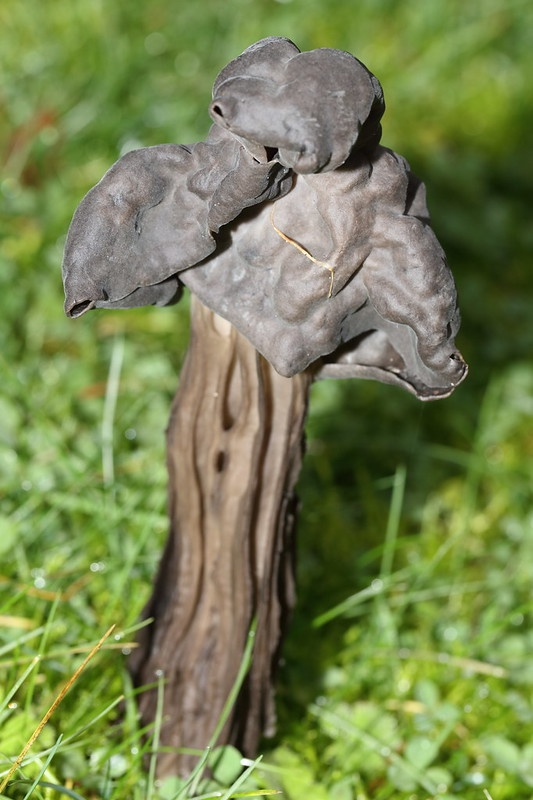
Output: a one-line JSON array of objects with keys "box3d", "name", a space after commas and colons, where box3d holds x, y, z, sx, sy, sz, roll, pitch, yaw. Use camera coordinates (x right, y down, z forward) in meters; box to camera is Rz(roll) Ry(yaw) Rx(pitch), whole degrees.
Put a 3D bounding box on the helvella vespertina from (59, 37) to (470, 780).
[{"box3d": [-0.022, 0.063, 1.322, 0.695, 1.069, 0.392, 9, 19, 2], "name": "helvella vespertina"}]
